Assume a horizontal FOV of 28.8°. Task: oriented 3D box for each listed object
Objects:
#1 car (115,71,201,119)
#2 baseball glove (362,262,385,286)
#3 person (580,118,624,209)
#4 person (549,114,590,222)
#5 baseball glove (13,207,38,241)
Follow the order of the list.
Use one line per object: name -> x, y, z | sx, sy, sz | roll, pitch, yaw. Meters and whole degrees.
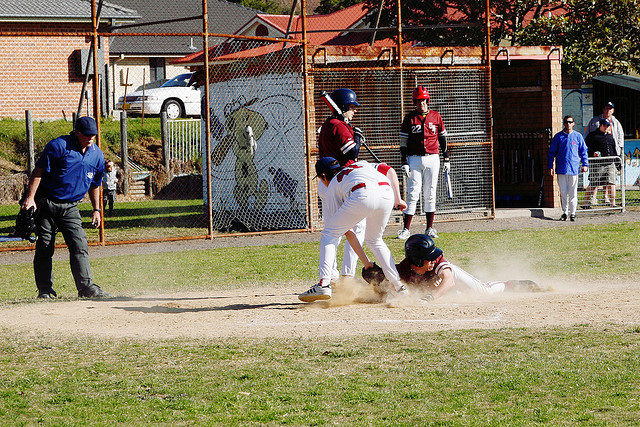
car -> -5.686, -4.089, 45.425 | 3.547, 1.435, 2.079 | 0, 1, -27
baseball glove -> 1.070, 1.182, 24.635 | 0.330, 0.382, 0.414 | 0, 15, 10
person -> 7.251, -1.267, 31.864 | 0.920, 2.338, 0.838 | 0, -3, -2
person -> 6.175, -1.146, 30.765 | 1.038, 2.500, 0.738 | 1, 8, 17
baseball glove -> -5.818, 0.215, 24.650 | 0.308, 0.478, 0.523 | -2, 1, -41
